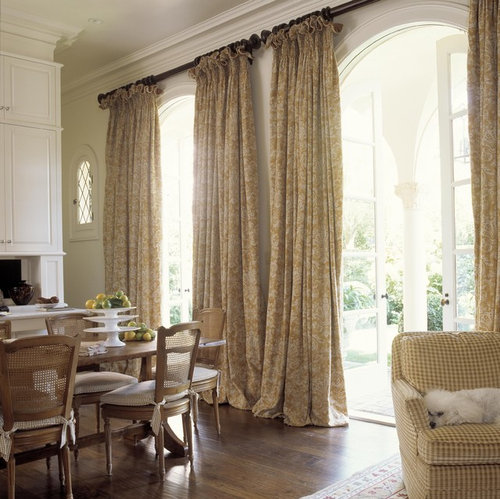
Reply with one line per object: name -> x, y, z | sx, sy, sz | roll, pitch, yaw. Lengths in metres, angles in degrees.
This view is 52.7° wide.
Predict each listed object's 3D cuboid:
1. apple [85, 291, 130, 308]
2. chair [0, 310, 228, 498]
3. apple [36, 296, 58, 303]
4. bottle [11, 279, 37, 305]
apple -> -0.955, 0.330, 3.344 | 0.252, 0.101, 0.386 | 0, -1, -30
chair -> -0.948, 0.822, 2.820 | 1.142, 1.156, 0.713 | -3, -7, 18
apple -> -1.771, 0.445, 4.431 | 0.183, 0.066, 0.136 | -1, -1, -12
bottle -> -2.146, 0.391, 4.818 | 0.194, 0.268, 0.209 | 1, 2, 0
